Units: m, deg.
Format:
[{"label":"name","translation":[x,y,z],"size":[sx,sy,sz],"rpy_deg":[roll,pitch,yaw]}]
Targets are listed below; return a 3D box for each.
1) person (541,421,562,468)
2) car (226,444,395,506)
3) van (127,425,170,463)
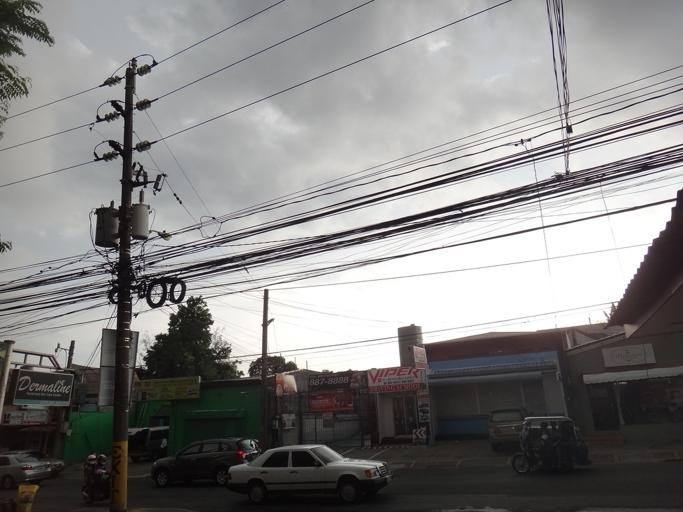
[{"label":"person","translation":[8.429,7.561,23.676],"size":[0.699,1.711,0.297],"rpy_deg":[-6,-9,17]},{"label":"car","translation":[-1.054,8.346,22.493],"size":[5.434,1.832,2.534],"rpy_deg":[-10,-21,16]},{"label":"van","translation":[-12.857,12.353,38.153],"size":[2.028,1.855,3.511],"rpy_deg":[-17,-21,6]}]
